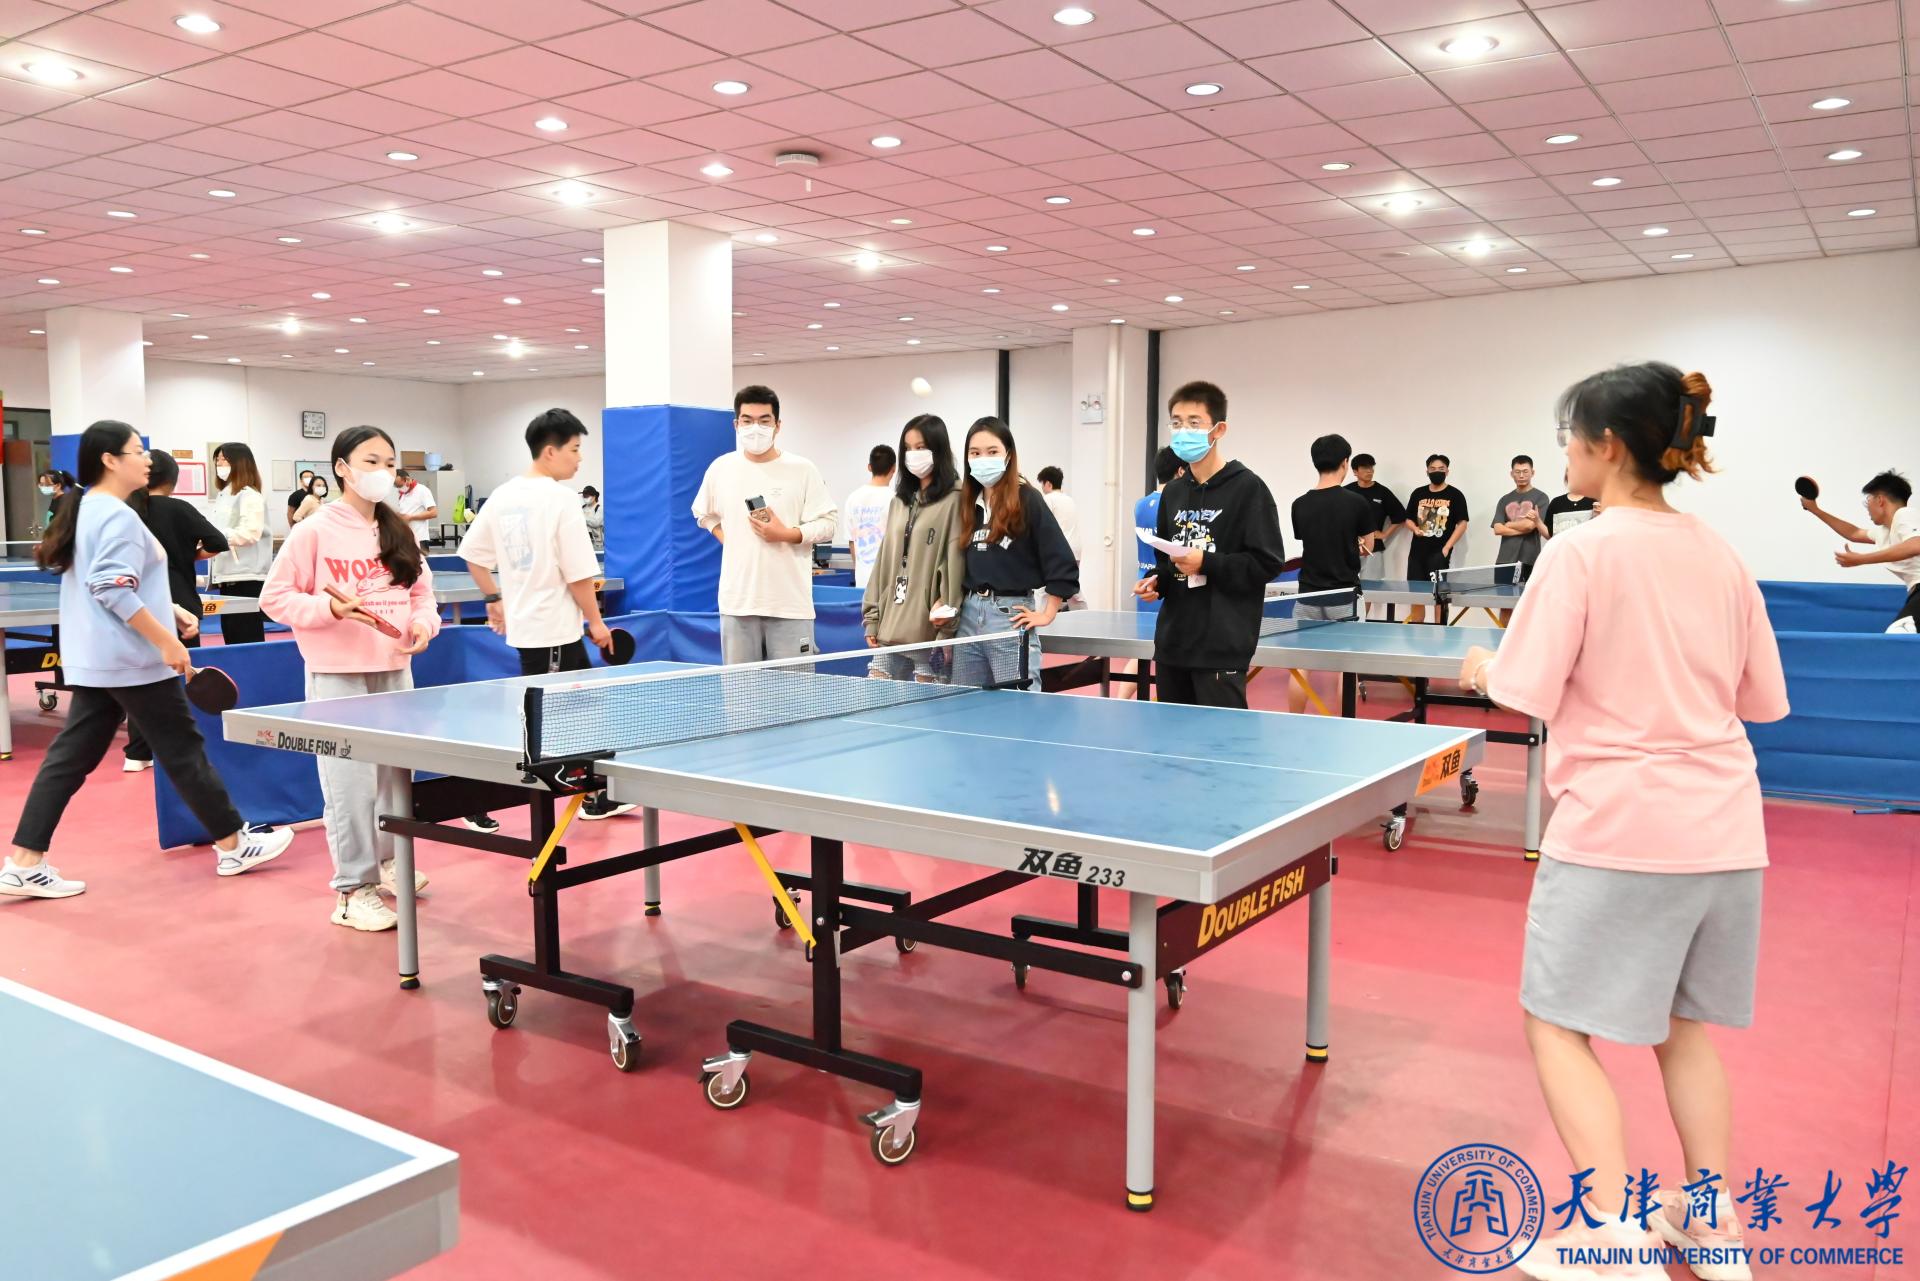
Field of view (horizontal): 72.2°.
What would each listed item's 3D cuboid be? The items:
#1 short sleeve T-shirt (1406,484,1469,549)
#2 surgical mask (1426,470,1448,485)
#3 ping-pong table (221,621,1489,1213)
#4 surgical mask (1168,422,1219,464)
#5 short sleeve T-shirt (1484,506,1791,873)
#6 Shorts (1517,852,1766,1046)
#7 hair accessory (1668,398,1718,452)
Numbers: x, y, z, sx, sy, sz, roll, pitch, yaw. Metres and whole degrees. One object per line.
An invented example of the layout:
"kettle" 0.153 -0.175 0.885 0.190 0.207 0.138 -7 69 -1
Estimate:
"short sleeve T-shirt" 4.581 -1.208 12.594 0.325 0.678 0.643 -12 15 -41
"surgical mask" 4.516 -1.541 12.390 0.183 0.135 0.178 0 4 14
"ping-pong table" -0.009 0.746 3.959 2.586 1.107 1.696 7 14 31
"surgical mask" 0.870 -0.741 4.912 0.145 0.107 0.138 3 6 33
"short sleeve T-shirt" 1.507 0.107 2.958 0.580 0.784 0.256 -1 13 -5
"Shorts" 1.624 0.705 3.129 0.601 0.407 0.334 2 1 -15
"hair accessory" 1.677 -0.502 3.036 0.102 0.120 0.045 8 6 -11
